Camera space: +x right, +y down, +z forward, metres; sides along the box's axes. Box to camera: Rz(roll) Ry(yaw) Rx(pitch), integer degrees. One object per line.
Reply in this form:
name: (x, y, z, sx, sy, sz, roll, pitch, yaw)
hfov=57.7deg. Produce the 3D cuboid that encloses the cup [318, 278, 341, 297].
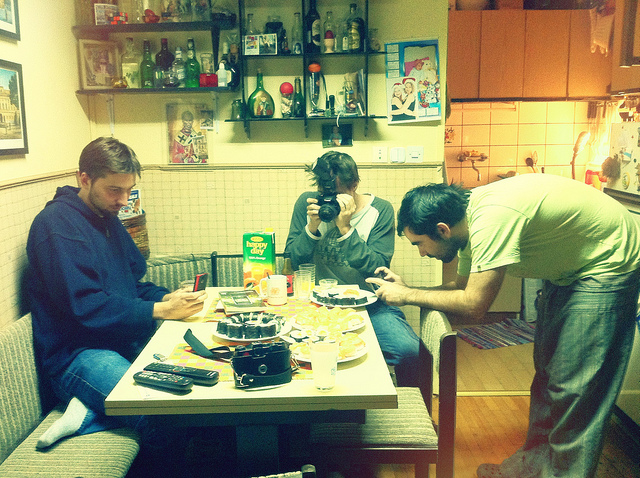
cup: (0.038, 0.231, 2.754, 0.067, 0.052, 0.073, 1, 7, 0)

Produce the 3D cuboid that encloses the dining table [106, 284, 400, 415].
dining table: (-0.235, 0.540, 2.667, 0.988, 0.337, 1.514, -1, 11, -3)

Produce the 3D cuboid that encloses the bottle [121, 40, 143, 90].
bottle: (-1.227, -1.149, 3.778, 0.109, 0.297, 0.094, -7, 17, -14)

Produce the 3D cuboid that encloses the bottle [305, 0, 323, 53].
bottle: (-0.041, -1.373, 3.726, 0.107, 0.316, 0.081, -5, 17, -9)

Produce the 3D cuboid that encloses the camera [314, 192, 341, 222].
camera: (0.047, -0.177, 3.034, 0.145, 0.138, 0.145, -9, 24, 23)

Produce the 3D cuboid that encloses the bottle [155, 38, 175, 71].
bottle: (-1.004, -1.210, 3.776, 0.118, 0.191, 0.089, -2, 17, 2)

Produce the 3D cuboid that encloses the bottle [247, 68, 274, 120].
bottle: (-0.393, -0.956, 3.795, 0.165, 0.322, 0.119, -5, 17, -7)

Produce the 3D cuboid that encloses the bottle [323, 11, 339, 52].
bottle: (0.071, -1.358, 3.764, 0.099, 0.253, 0.170, -2, 17, 1)

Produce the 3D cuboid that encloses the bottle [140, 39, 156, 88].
bottle: (-1.116, -1.143, 3.769, 0.109, 0.294, 0.142, -10, 18, -22)

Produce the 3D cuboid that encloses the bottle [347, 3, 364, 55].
bottle: (0.229, -1.351, 3.712, 0.103, 0.306, 0.129, -2, 17, 3)

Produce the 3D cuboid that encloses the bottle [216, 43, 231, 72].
bottle: (-0.627, -1.186, 3.763, 0.091, 0.171, 0.177, -6, 17, -12)

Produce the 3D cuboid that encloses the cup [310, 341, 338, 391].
cup: (0.018, 0.453, 2.068, 0.096, 0.151, 0.082, -3, 17, 0)

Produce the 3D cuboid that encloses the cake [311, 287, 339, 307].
cake: (0.016, 0.267, 2.701, 0.088, 0.023, 0.088, 6, 18, 22)

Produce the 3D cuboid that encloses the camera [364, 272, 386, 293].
camera: (0.301, 0.231, 3.155, 0.113, 0.114, 0.036, 40, 23, -8)

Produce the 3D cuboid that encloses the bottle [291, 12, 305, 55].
bottle: (-0.147, -1.342, 3.764, 0.086, 0.269, 0.194, -3, 17, -2)

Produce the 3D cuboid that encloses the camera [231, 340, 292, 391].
camera: (-0.208, 0.459, 2.121, 0.210, 0.143, 0.115, -7, -5, -13)

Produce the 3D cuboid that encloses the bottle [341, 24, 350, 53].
bottle: (0.167, -1.303, 3.725, 0.052, 0.158, 0.047, 3, 18, 17)

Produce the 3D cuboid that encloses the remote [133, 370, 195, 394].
remote: (-0.551, 0.510, 2.080, 0.239, 0.053, 0.079, 6, 30, 17)

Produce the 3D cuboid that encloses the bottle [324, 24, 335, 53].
bottle: (0.059, -1.291, 3.712, 0.066, 0.177, 0.094, -2, 17, 3)

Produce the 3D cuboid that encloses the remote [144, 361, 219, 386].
remote: (-0.494, 0.488, 2.120, 0.309, 0.053, 0.094, 6, 21, 12)

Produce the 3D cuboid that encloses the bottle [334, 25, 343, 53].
bottle: (0.119, -1.302, 3.745, 0.055, 0.154, 0.087, -2, 17, 3)

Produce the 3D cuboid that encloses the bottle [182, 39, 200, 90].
bottle: (-0.822, -1.150, 3.771, 0.115, 0.308, 0.113, 3, 29, -2)

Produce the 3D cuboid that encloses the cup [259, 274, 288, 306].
cup: (-0.216, 0.249, 2.760, 0.149, 0.128, 0.093, 4, 0, 19)

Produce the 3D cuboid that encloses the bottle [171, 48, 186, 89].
bottle: (-0.909, -1.100, 3.734, 0.100, 0.247, 0.147, -6, 17, -11)

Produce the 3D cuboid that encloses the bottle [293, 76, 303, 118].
bottle: (-0.143, -0.938, 3.818, 0.075, 0.252, 0.120, -3, 17, -2)
